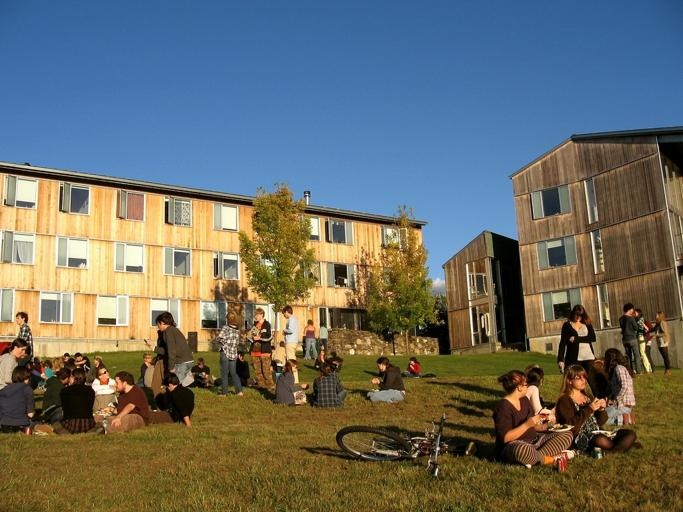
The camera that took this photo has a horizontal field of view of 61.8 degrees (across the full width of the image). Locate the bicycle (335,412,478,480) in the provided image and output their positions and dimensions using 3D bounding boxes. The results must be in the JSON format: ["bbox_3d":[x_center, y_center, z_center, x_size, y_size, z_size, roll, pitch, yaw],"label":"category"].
[{"bbox_3d":[1.284,3.666,10.894,2.153,1.473,1.297,3,0,-9],"label":"bicycle"}]

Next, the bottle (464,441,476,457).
[{"bbox_3d":[2.470,3.717,10.969,0.223,0.321,0.693,-3,-9,11],"label":"bottle"}]

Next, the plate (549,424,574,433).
[{"bbox_3d":[4.253,3.344,11.081,0.452,0.133,0.397,-8,-11,33],"label":"plate"}]

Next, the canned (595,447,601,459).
[{"bbox_3d":[4.861,3.744,10.811,0.134,0.232,0.145,-2,-6,9],"label":"canned"}]
